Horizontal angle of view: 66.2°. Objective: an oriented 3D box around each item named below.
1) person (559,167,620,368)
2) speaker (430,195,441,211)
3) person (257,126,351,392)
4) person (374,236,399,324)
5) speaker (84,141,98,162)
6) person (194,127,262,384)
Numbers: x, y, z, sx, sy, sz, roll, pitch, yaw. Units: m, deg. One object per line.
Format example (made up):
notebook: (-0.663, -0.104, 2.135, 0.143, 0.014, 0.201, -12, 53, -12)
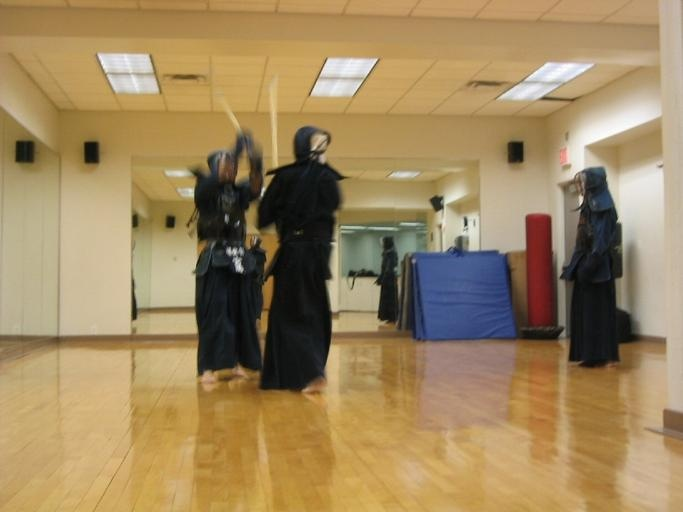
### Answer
person: (2.367, 0.092, 4.973, 0.486, 1.897, 0.385, -1, -2, 28)
speaker: (1.583, -0.886, 8.765, 0.220, 0.243, 0.202, -2, 6, 3)
person: (-0.303, 0.013, 3.866, 0.601, 1.926, 0.224, 0, -2, -10)
person: (0.745, 0.365, 8.301, 0.330, 1.383, 0.396, -1, -2, 13)
speaker: (-3.819, -1.578, 7.979, 0.220, 0.324, 0.154, 0, -2, -13)
person: (-0.931, -0.022, 4.281, 0.597, 1.926, 0.508, 0, -2, -8)
